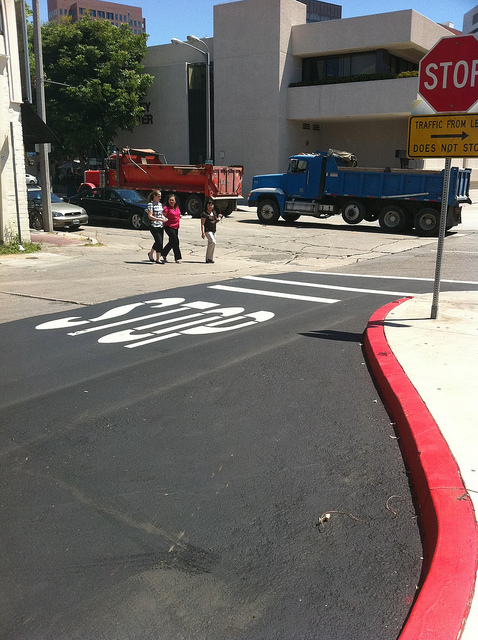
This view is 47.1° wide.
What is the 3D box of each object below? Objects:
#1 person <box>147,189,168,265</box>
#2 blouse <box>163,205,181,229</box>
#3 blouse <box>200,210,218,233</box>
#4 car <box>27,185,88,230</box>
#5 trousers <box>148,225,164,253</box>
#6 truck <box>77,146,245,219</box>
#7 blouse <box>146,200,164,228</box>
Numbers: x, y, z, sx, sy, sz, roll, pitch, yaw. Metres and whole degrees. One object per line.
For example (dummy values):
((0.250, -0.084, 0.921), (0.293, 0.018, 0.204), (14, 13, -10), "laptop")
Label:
((-2.192, -2.451, 14.718), (0.526, 1.920, 1.141), (-2, 11, -10), "person")
((-1.799, -2.706, 14.578), (0.391, 0.618, 0.373), (0, 11, 3), "blouse")
((-0.792, -2.640, 14.814), (0.376, 0.578, 0.627), (-1, 11, -4), "blouse")
((-7.541, -4.522, 22.572), (2.212, 1.683, 2.153), (-7, 13, -30), "car")
((-2.170, -2.118, 14.583), (0.363, 0.746, 0.455), (-2, 11, -10), "trousers")
((-3.419, -7.169, 29.058), (7.366, 3.483, 3.375), (7, 13, 30), "truck")
((-2.191, -2.714, 14.305), (0.380, 0.647, 0.393), (-2, 11, -8), "blouse")
